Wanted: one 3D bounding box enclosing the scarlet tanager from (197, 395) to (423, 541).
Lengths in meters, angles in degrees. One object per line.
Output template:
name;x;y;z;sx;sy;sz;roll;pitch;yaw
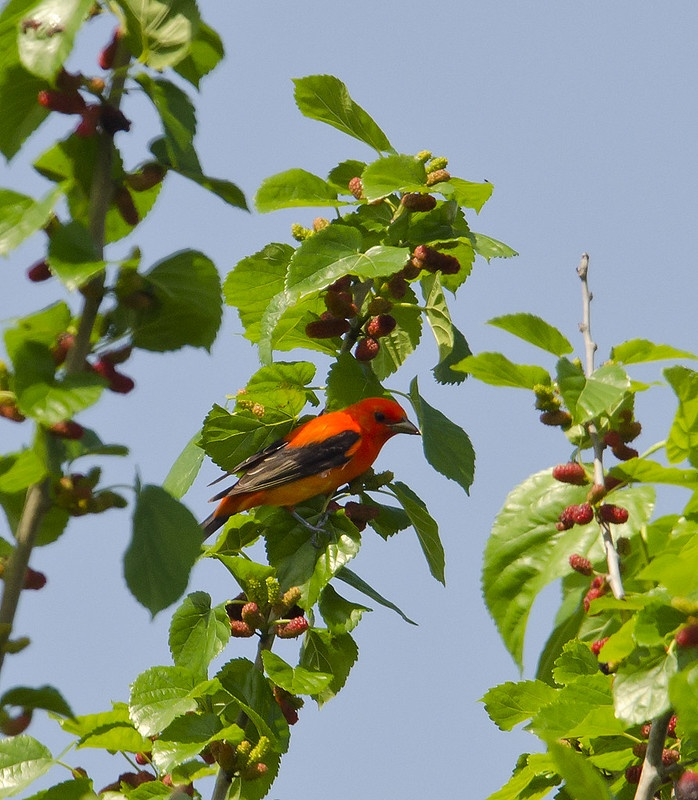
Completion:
scarlet tanager;-0.192;0.255;5.579;0.814;0.523;0.278;-3;-4;13
